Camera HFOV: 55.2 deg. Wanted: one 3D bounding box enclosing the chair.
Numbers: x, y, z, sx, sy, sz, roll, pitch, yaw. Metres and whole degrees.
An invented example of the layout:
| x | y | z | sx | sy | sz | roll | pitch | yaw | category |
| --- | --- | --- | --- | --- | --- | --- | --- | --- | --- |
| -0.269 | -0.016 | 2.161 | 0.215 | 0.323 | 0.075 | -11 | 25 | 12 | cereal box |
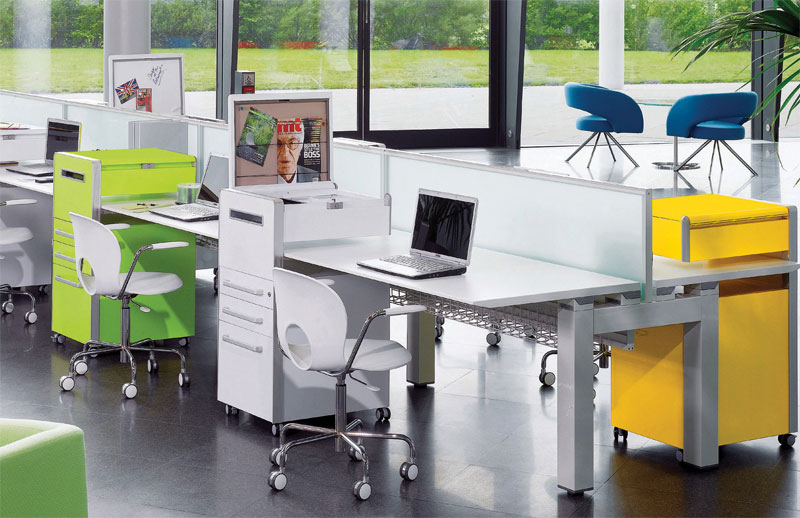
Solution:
| x | y | z | sx | sy | sz | roll | pitch | yaw | category |
| --- | --- | --- | --- | --- | --- | --- | --- | --- | --- |
| 2.975 | -1.961 | 11.207 | 1.142 | 1.084 | 1.081 | -2 | 12 | -20 | chair |

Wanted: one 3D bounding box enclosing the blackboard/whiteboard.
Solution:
| x | y | z | sx | sy | sz | roll | pitch | yaw | category |
| --- | --- | --- | --- | --- | --- | --- | --- | --- | --- |
| -2.774 | -1.893 | 8.397 | 0.972 | 0.675 | 0.072 | 6 | 12 | 20 | blackboard/whiteboard |

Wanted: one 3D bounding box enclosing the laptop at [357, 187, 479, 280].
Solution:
| x | y | z | sx | sy | sz | roll | pitch | yaw | category |
| --- | --- | --- | --- | --- | --- | --- | --- | --- | --- |
| 0.147 | -0.137 | 4.186 | 0.568 | 0.423 | 0.624 | -2 | 10 | -34 | laptop |
